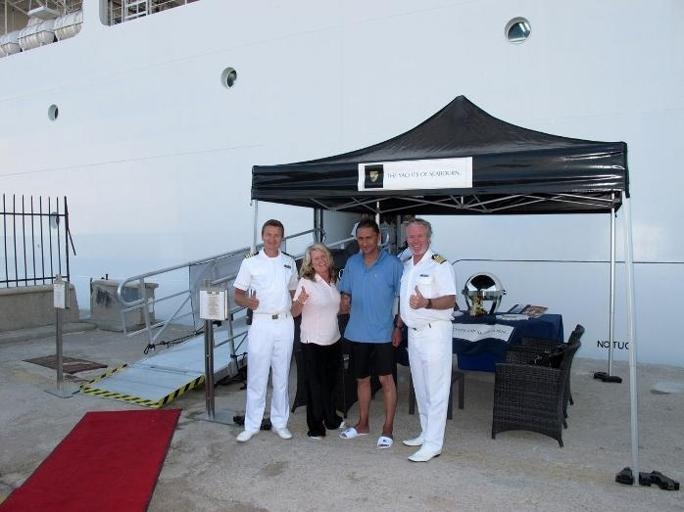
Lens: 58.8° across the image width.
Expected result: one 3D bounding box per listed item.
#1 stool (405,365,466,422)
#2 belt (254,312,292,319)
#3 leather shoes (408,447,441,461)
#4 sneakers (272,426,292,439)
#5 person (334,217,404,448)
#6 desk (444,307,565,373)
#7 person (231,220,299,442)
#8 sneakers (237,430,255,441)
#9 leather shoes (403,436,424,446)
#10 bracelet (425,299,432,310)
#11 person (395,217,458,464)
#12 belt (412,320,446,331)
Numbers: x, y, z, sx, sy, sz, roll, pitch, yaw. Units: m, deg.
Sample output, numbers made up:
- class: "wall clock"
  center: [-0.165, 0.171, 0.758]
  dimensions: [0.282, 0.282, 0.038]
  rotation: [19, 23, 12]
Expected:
- class: "stool"
  center: [1.171, 1.612, 7.169]
  dimensions: [0.556, 0.489, 0.608]
  rotation: [2, 6, 23]
- class: "belt"
  center: [-0.722, 0.620, 6.264]
  dimensions: [0.388, 0.068, 0.081]
  rotation: [-1, 11, -6]
- class: "leather shoes"
  center: [0.793, 1.938, 6.005]
  dimensions: [0.352, 0.165, 0.128]
  rotation: [1, -3, -25]
- class: "sneakers"
  center: [-0.616, 1.862, 6.382]
  dimensions: [0.093, 0.076, 0.189]
  rotation: [4, -2, -40]
- class: "person"
  center: [0.278, 0.782, 6.265]
  dimensions: [0.658, 2.306, 0.526]
  rotation: [3, 10, 13]
- class: "desk"
  center: [1.908, 0.995, 7.335]
  dimensions: [0.850, 0.475, 0.901]
  rotation: [1, 10, 25]
- class: "person"
  center: [-0.787, 0.787, 6.343]
  dimensions: [0.655, 2.284, 0.470]
  rotation: [-1, 10, -5]
- class: "sneakers"
  center: [-1.021, 1.877, 6.318]
  dimensions: [0.086, 0.066, 0.165]
  rotation: [1, -8, 21]
- class: "leather shoes"
  center: [0.730, 1.886, 6.255]
  dimensions: [0.229, 0.104, 0.089]
  rotation: [5, 5, 11]
- class: "bracelet"
  center: [0.839, 0.474, 5.822]
  dimensions: [0.052, 0.088, 0.075]
  rotation: [0, -1, -8]
- class: "person"
  center: [0.848, 0.826, 6.009]
  dimensions: [0.518, 2.310, 0.573]
  rotation: [-1, 10, -4]
- class: "belt"
  center: [0.872, 0.679, 5.928]
  dimensions: [0.360, 0.120, 0.075]
  rotation: [1, 11, 2]
